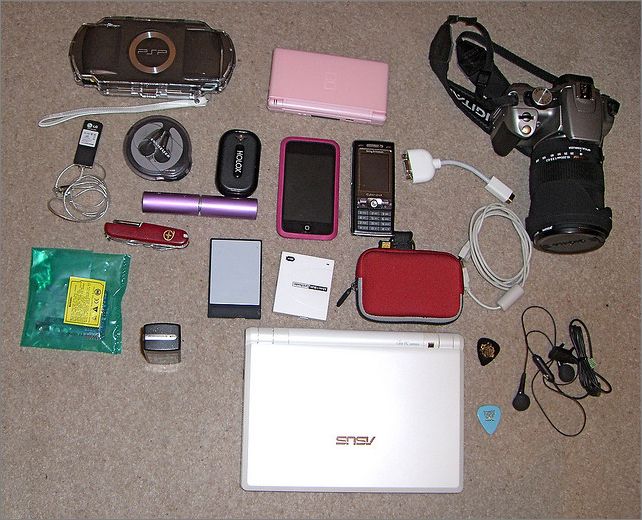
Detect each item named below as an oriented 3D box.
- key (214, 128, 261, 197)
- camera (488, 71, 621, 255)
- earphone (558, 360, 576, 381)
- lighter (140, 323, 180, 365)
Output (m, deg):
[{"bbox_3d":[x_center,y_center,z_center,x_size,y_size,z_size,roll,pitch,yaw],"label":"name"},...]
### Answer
[{"bbox_3d":[-0.255,-0.298,2.095,0.114,0.048,0.223,5,82,-2],"label":"key"},{"bbox_3d":[0.699,-0.294,2.130,0.332,0.267,0.556,2,82,0],"label":"camera"},{"bbox_3d":[0.762,0.346,2.103,0.054,0.034,0.052,9,54,-1],"label":"earphone"},{"bbox_3d":[-0.472,0.237,1.991,0.121,0.151,0.101,-1,53,-7],"label":"lighter"}]
